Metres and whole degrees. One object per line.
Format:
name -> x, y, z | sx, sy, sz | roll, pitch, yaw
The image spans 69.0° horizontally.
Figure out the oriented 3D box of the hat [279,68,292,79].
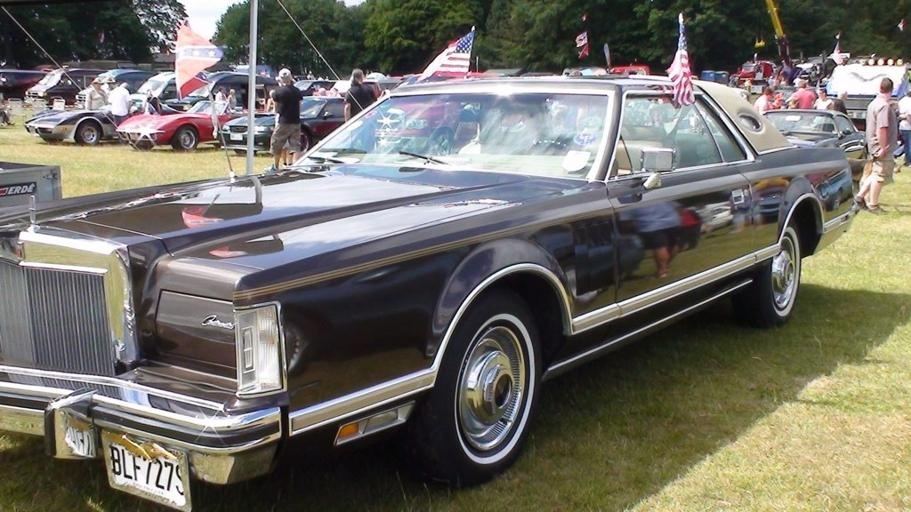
hat -> -3.465, -3.708, 13.543 | 0.253, 0.127, 0.383 | 0, 18, -5
